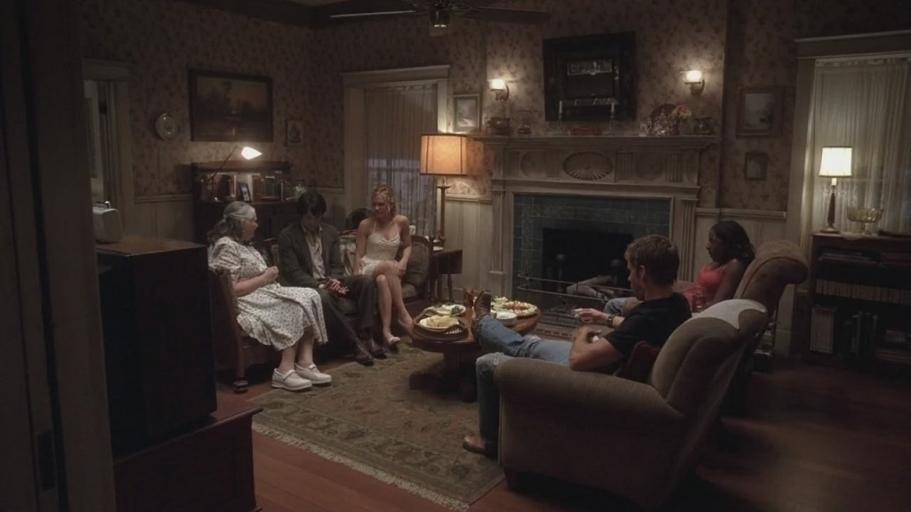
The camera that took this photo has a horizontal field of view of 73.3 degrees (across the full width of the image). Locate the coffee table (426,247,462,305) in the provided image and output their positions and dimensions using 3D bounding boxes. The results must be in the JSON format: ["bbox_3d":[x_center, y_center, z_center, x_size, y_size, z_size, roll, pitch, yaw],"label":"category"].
[{"bbox_3d":[-0.157,0.247,7.224,0.363,0.495,0.520,4,-6,-38],"label":"coffee table"}]

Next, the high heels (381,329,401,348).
[{"bbox_3d":[-0.644,0.826,5.969,0.099,0.173,0.261,-24,-12,-28],"label":"high heels"}]

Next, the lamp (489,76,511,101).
[{"bbox_3d":[0.507,-1.905,6.960,0.287,0.262,0.184,-3,7,-34],"label":"lamp"}]

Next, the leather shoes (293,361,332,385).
[{"bbox_3d":[-1.215,1.023,5.316,0.353,0.144,0.133,23,8,3],"label":"leather shoes"}]

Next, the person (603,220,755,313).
[{"bbox_3d":[1.890,0.167,5.380,1.495,0.781,0.617,-6,3,27],"label":"person"}]

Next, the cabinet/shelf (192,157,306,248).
[{"bbox_3d":[-2.499,-0.653,7.514,1.159,1.042,0.395,-6,-1,-25],"label":"cabinet/shelf"}]

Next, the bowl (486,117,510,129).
[{"bbox_3d":[0.487,-1.510,6.921,0.264,0.123,0.112,2,7,5],"label":"bowl"}]

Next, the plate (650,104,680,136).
[{"bbox_3d":[2.123,-1.401,6.236,0.336,0.158,0.330,13,37,29],"label":"plate"}]

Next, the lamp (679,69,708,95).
[{"bbox_3d":[2.355,-1.735,6.081,0.226,0.252,0.141,4,8,21],"label":"lamp"}]

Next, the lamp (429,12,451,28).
[{"bbox_3d":[-0.125,-1.848,4.808,0.146,0.096,0.221,0,6,-7],"label":"lamp"}]

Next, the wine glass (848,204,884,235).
[{"bbox_3d":[3.784,-0.340,5.660,0.267,0.218,0.278,1,1,42],"label":"wine glass"}]

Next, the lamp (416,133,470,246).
[{"bbox_3d":[-0.105,-0.805,7.242,0.485,1.251,0.571,4,8,19],"label":"lamp"}]

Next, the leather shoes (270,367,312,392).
[{"bbox_3d":[-1.397,1.062,5.232,0.339,0.144,0.150,2,2,12],"label":"leather shoes"}]

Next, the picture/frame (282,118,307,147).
[{"bbox_3d":[-2.169,-1.661,8.199,0.069,0.486,0.394,5,10,40],"label":"picture/frame"}]

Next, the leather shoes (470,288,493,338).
[{"bbox_3d":[0.196,0.380,4.614,0.130,0.154,0.401,2,26,5],"label":"leather shoes"}]

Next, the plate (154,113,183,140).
[{"bbox_3d":[-3.291,-1.483,6.987,0.066,0.263,0.276,4,13,32],"label":"plate"}]

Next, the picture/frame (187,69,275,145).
[{"bbox_3d":[-2.760,-1.827,7.572,0.100,0.883,1.247,12,14,29],"label":"picture/frame"}]

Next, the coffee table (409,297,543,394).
[{"bbox_3d":[0.063,0.776,5.013,0.744,0.447,0.966,7,11,37],"label":"coffee table"}]

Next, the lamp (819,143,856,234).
[{"bbox_3d":[3.515,-0.630,5.707,0.265,0.793,0.299,6,9,32],"label":"lamp"}]

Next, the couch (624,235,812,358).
[{"bbox_3d":[2.394,0.171,5.139,1.211,1.227,1.280,-1,-1,12],"label":"couch"}]

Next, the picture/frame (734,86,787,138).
[{"bbox_3d":[2.964,-1.404,5.925,0.525,0.574,0.061,4,6,27],"label":"picture/frame"}]
